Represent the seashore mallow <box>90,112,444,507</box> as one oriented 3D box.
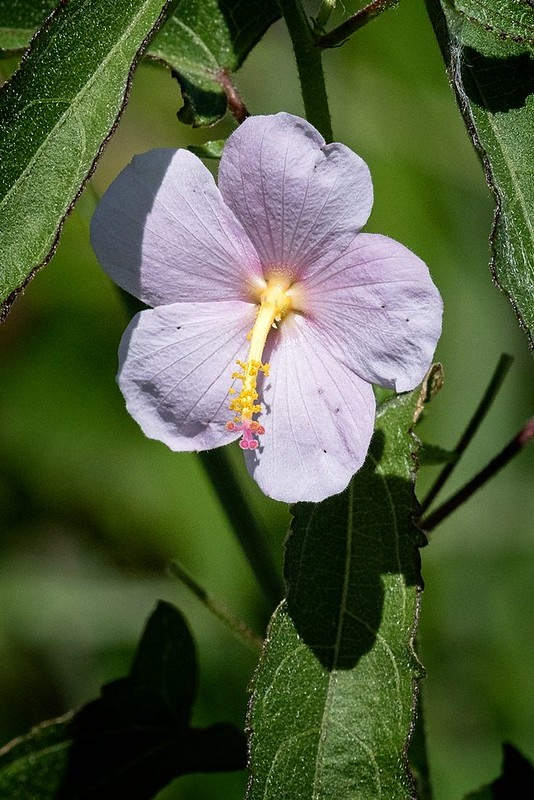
[{"bbox_3d":[-0.022,-0.130,1.147,0.519,0.431,0.358,28,62,10],"label":"seashore mallow"}]
